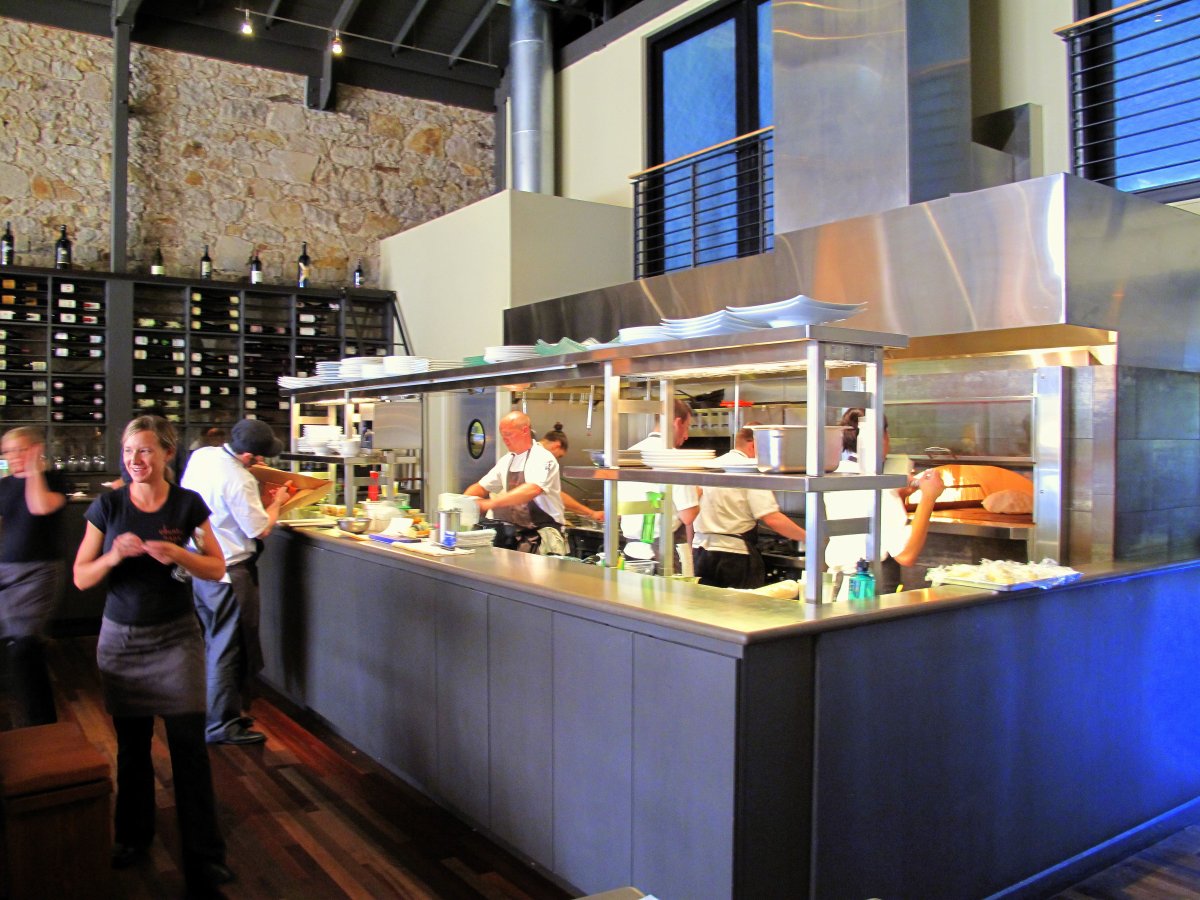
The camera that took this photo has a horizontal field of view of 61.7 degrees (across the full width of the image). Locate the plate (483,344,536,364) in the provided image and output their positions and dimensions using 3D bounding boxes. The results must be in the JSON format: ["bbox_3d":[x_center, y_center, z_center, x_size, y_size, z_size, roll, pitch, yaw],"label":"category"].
[{"bbox_3d":[-0.394,-0.432,4.566,0.176,0.074,0.427,-6,10,-34],"label":"plate"}]

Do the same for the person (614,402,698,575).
[{"bbox_3d":[0.266,0.118,4.825,0.355,0.975,0.361,-4,-1,-25],"label":"person"}]

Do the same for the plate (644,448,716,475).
[{"bbox_3d":[0.328,0.034,3.873,0.350,0.080,0.132,6,11,39],"label":"plate"}]

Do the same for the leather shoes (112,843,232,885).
[{"bbox_3d":[-1.746,1.634,4.061,0.564,0.085,0.127,4,-7,17],"label":"leather shoes"}]

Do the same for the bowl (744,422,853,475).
[{"bbox_3d":[0.713,-0.008,3.576,0.255,0.119,0.174,3,-4,-19],"label":"bowl"}]

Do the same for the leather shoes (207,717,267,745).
[{"bbox_3d":[-1.869,1.448,5.165,0.273,0.094,0.130,0,-6,-2],"label":"leather shoes"}]

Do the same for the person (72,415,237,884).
[{"bbox_3d":[-1.699,0.766,3.832,0.514,1.782,0.562,-3,9,-12],"label":"person"}]

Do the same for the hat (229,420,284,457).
[{"bbox_3d":[-1.732,-0.061,5.118,0.177,0.125,0.233,28,23,19],"label":"hat"}]

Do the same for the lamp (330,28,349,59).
[{"bbox_3d":[-2.391,-3.743,9.168,0.181,0.165,0.377,-17,42,4],"label":"lamp"}]

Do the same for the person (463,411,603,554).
[{"bbox_3d":[-0.363,0.191,6.102,0.669,1.276,0.687,7,-14,-36],"label":"person"}]

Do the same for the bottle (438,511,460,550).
[{"bbox_3d":[-0.722,0.375,4.784,0.095,0.159,0.217,-2,9,-11],"label":"bottle"}]

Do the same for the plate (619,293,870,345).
[{"bbox_3d":[0.475,-0.474,3.664,0.903,0.155,0.253,6,10,39],"label":"plate"}]
